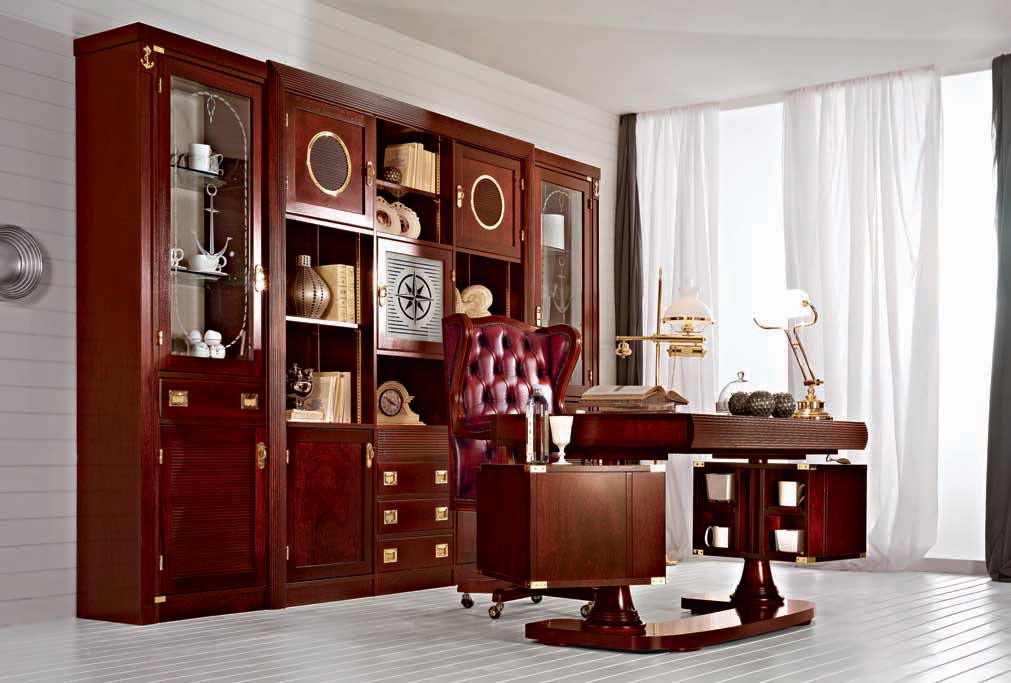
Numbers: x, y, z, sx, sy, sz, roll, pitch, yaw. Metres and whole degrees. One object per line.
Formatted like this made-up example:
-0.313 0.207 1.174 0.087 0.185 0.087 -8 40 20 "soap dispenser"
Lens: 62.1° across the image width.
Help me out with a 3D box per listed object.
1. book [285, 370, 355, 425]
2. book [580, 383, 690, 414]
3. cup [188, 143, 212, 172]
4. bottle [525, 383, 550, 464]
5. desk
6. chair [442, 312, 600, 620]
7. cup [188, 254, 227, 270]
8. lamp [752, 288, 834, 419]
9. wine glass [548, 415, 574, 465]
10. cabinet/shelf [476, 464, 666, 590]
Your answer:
-1.042 0.337 4.900 0.432 0.426 0.262 0 -7 1 "book"
0.571 0.259 3.841 0.462 0.137 0.306 -4 -8 32 "book"
-1.595 -0.964 4.384 0.089 0.130 0.138 -4 -6 44 "cup"
0.140 0.359 3.632 0.101 0.325 0.265 0 -7 2 "bottle"
1.012 0.899 4.175 1.671 1.053 0.930 8 -6 -43 "desk"
0.192 0.602 4.491 0.949 1.553 0.886 5 -9 -36 "chair"
-1.564 -0.410 4.389 0.107 0.050 0.088 -1 -4 35 "cup"
1.602 0.078 4.619 0.443 0.697 0.344 4 5 12 "lamp"
0.241 0.419 3.620 0.099 0.204 0.234 0 -7 5 "wine glass"
0.379 0.838 3.860 0.824 0.468 0.852 -6 -12 25 "cabinet/shelf"
